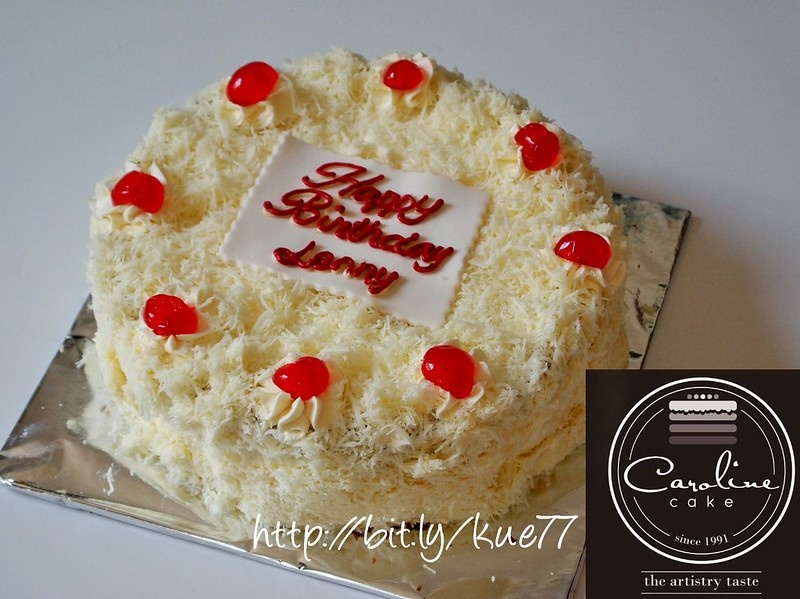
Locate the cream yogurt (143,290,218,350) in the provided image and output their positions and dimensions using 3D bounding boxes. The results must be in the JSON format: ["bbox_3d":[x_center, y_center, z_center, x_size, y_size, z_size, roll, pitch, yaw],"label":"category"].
[{"bbox_3d":[-1.021,0.095,4.043,0.225,0.103,0.313,-39,65,-17],"label":"cream yogurt"}]

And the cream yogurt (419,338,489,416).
[{"bbox_3d":[0.230,0.336,3.873,0.268,0.129,0.261,-4,60,2],"label":"cream yogurt"}]

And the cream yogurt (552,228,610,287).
[{"bbox_3d":[0.868,-0.231,4.203,0.261,0.124,0.196,24,65,17],"label":"cream yogurt"}]

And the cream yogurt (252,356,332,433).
[{"bbox_3d":[-0.421,0.355,3.900,0.430,0.146,0.421,-9,43,12],"label":"cream yogurt"}]
